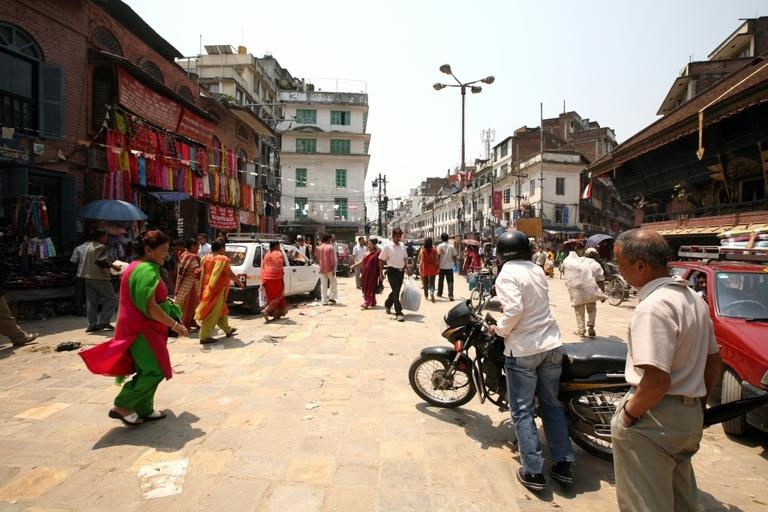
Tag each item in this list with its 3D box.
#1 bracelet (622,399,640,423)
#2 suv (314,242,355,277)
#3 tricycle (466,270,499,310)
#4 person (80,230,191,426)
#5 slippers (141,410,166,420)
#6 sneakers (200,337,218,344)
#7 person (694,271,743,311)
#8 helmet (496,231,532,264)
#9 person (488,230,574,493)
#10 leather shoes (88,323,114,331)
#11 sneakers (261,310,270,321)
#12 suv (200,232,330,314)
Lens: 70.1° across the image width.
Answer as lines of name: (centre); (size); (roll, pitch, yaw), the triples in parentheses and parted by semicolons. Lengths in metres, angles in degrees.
bracelet: (2.865, 1.839, 6.471); (0.206, 0.246, 0.098); (-7, -12, -43)
suv: (-2.009, 0.227, 24.447); (1.108, 1.038, 2.627); (0, 9, 6)
tricycle: (2.589, 0.805, 14.103); (0.802, 1.004, 1.686); (-2, -8, 31)
person: (-3.564, 1.061, 7.998); (1.231, 2.809, 0.519); (-3, 7, -23)
slippers: (-3.421, 2.374, 8.177); (0.316, 0.090, 0.124); (-1, 5, -5)
sneakers: (-3.546, 1.701, 11.134); (0.358, 0.127, 0.262); (-3, 6, -24)
person: (5.239, 0.562, 8.542); (0.527, 0.508, 0.944); (-1, -6, -13)
helmet: (1.772, -0.141, 7.568); (0.377, 0.474, 0.490); (-5, 22, -23)
person: (1.981, 1.349, 7.343); (1.135, 3.328, 0.808); (2, 7, 19)
leather shoes: (-6.062, 1.543, 11.791); (0.510, 0.223, 0.172); (-2, 7, -28)
sneakers: (-2.782, 1.412, 12.916); (0.088, 0.261, 0.110); (-4, 13, 12)
suv: (-3.082, 0.378, 14.687); (1.481, 1.349, 2.922); (0, 8, 23)
